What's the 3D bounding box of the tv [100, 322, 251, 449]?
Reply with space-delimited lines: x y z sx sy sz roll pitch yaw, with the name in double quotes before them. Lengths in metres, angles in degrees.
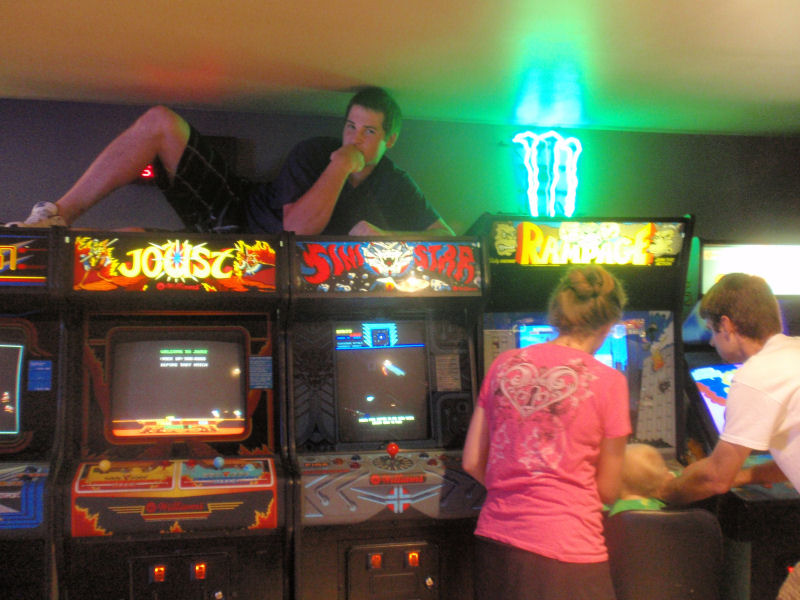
"tv" -1.188 0.498 4.782 0.809 0.630 0.391 -1 0 3
